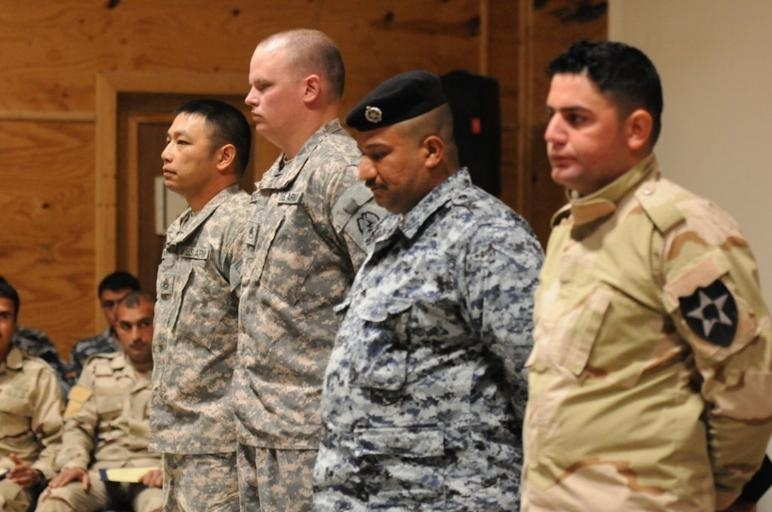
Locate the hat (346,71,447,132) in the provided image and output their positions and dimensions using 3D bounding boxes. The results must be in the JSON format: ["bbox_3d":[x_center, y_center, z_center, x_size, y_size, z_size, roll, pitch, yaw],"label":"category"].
[{"bbox_3d":[0.035,-0.539,4.148,0.300,0.097,0.230,-17,11,-8],"label":"hat"}]
